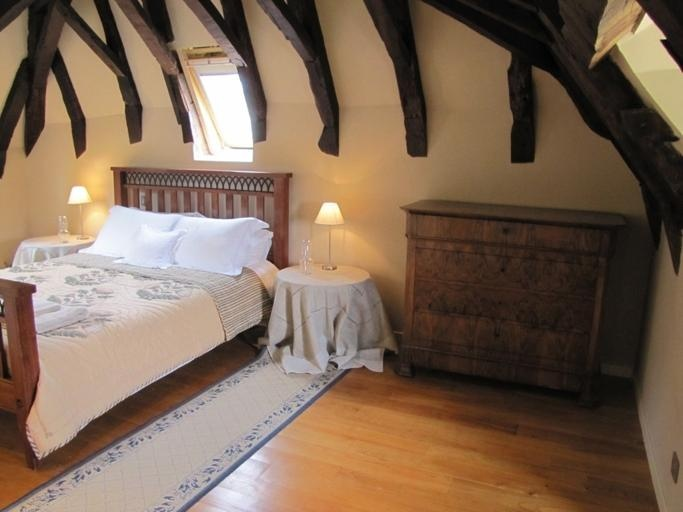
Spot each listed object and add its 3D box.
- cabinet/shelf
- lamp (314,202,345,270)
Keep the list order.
[{"bbox_3d":[1.260,0.350,3.656,1.244,1.170,0.532,5,12,22],"label":"cabinet/shelf"},{"bbox_3d":[-0.105,-0.186,4.480,0.253,0.579,0.434,0,9,-1],"label":"lamp"}]
